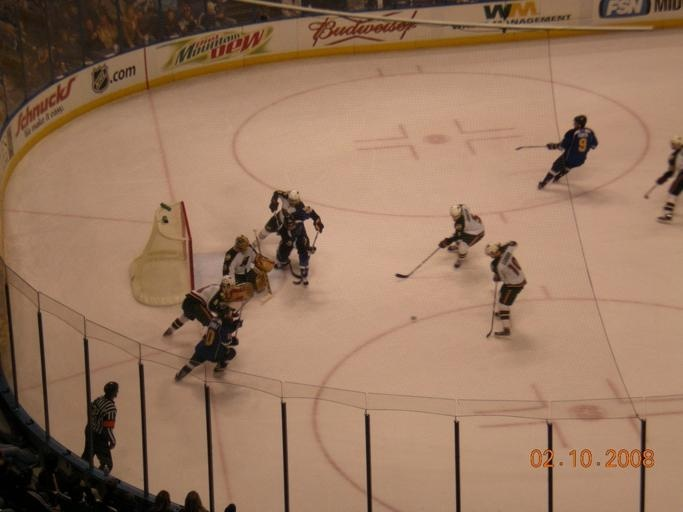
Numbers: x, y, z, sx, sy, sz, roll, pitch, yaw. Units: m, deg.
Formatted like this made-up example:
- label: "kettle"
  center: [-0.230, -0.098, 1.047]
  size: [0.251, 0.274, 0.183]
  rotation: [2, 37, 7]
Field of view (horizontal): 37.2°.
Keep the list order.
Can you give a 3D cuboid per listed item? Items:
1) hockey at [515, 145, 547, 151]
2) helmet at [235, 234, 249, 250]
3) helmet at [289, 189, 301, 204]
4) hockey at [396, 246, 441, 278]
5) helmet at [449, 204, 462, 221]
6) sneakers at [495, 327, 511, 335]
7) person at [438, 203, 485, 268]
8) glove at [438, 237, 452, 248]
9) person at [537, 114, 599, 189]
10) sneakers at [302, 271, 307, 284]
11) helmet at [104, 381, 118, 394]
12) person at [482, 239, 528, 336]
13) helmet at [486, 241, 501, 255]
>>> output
- label: "hockey"
  center: [3.801, -2.166, 20.346]
  size: [0.832, 0.083, 0.118]
  rotation: [-1, -8, -12]
- label: "helmet"
  center: [-1.594, -0.220, 16.033]
  size: [0.243, 0.215, 0.193]
  rotation: [-1, 55, 2]
- label: "helmet"
  center: [-0.768, -0.973, 16.700]
  size: [0.228, 0.224, 0.256]
  rotation: [-10, 14, -25]
- label: "hockey"
  center: [1.315, 0.125, 17.415]
  size: [0.092, 0.299, 1.101]
  rotation: [36, 36, 23]
- label: "helmet"
  center: [1.883, -0.748, 16.948]
  size: [0.230, 0.265, 0.232]
  rotation: [-1, -25, 31]
- label: "sneakers"
  center: [2.529, 1.148, 15.856]
  size: [0.277, 0.153, 0.101]
  rotation: [3, 27, 14]
- label: "person"
  center: [2.035, -0.357, 17.251]
  size: [0.727, 1.077, 0.960]
  rotation: [-4, 12, 7]
- label: "glove"
  center: [1.727, -0.218, 16.949]
  size: [0.206, 0.157, 0.261]
  rotation: [-4, 11, 6]
- label: "person"
  center: [4.178, -1.915, 18.799]
  size: [1.022, 1.319, 0.479]
  rotation: [1, 14, 26]
- label: "sneakers"
  center: [-0.624, 0.359, 16.975]
  size: [0.114, 0.184, 0.099]
  rotation: [1, 4, 0]
- label: "helmet"
  center: [-3.146, 1.774, 13.700]
  size: [0.153, 0.164, 0.178]
  rotation: [2, 17, -1]
- label: "person"
  center: [2.579, 0.565, 16.126]
  size: [0.705, 1.338, 0.741]
  rotation: [21, 53, 24]
- label: "helmet"
  center: [2.340, -0.095, 15.703]
  size: [0.241, 0.203, 0.317]
  rotation: [-3, 12, 7]
